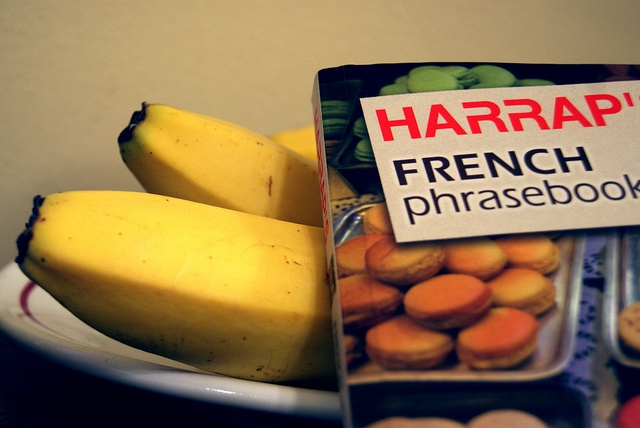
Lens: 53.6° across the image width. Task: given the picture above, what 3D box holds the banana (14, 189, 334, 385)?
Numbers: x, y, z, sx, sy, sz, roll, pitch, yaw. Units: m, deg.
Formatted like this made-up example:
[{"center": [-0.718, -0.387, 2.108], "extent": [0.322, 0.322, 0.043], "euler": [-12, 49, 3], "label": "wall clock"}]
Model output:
[{"center": [-0.104, 0.085, 0.759], "extent": [0.502, 0.149, 0.161], "euler": [6, 47, 8], "label": "banana"}]

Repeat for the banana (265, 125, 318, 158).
[{"center": [-0.030, -0.124, 1.040], "extent": [0.075, 0.016, 0.068], "euler": [16, 34, 16], "label": "banana"}]
